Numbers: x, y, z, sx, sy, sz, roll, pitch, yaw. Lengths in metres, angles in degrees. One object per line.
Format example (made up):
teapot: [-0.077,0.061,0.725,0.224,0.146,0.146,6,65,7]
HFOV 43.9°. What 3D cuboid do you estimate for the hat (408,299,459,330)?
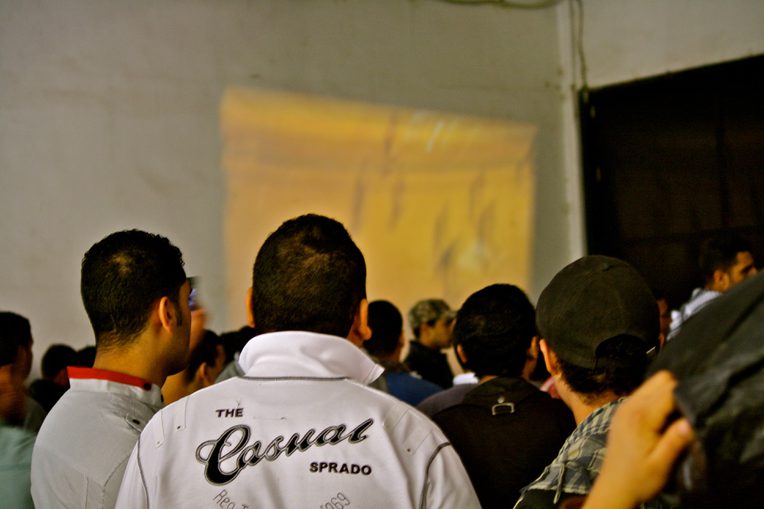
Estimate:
hat: [0.309,0.338,5.747,0.238,0.128,0.168,-23,1,-3]
